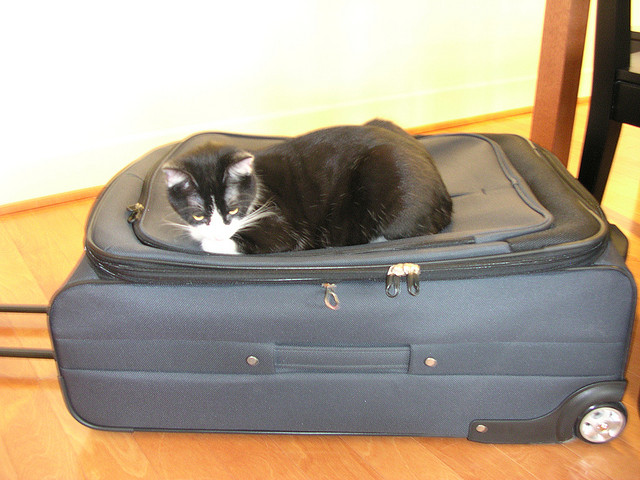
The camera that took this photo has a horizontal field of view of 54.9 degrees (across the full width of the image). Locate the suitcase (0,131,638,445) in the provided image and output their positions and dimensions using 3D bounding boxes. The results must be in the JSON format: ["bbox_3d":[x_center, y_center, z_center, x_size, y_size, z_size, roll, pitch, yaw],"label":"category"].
[{"bbox_3d":[0.031,0.131,1.368,1.090,0.368,0.608,-2,27,1],"label":"suitcase"}]

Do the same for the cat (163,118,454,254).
[{"bbox_3d":[-0.008,-0.123,1.393,0.479,0.171,0.316,-12,39,-11],"label":"cat"}]
